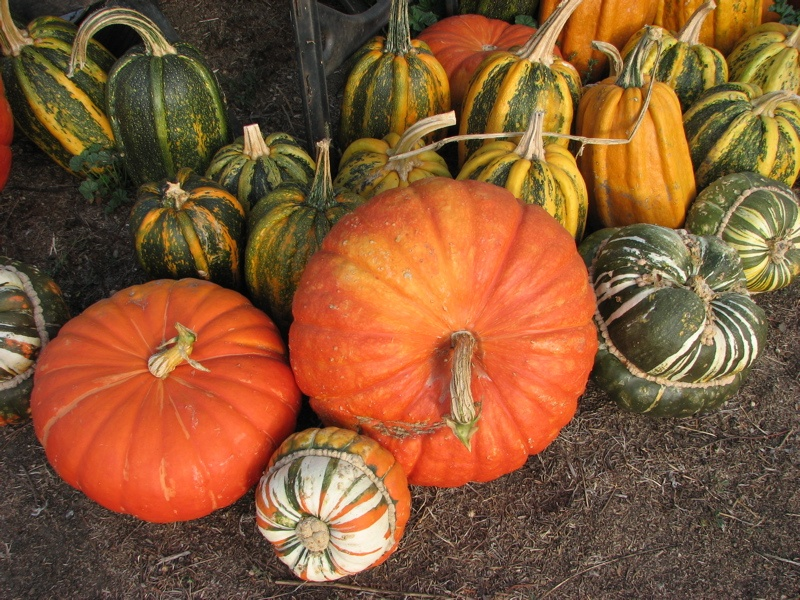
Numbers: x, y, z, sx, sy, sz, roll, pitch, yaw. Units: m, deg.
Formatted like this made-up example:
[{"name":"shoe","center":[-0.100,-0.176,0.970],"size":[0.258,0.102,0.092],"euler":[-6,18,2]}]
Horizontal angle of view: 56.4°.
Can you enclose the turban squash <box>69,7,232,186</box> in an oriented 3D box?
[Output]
[{"name":"turban squash","center":[-1.548,-1.322,4.825],"size":[0.710,1.057,0.697],"euler":[20,55,12]}]

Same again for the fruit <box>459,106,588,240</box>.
[{"name":"fruit","center":[0.742,-0.776,4.753],"size":[0.749,0.892,0.733],"euler":[4,32,-12]}]

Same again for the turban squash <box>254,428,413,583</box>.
[{"name":"turban squash","center":[-0.336,1.054,4.104],"size":[0.742,0.556,0.749],"euler":[-42,86,1]}]

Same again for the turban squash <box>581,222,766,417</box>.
[{"name":"turban squash","center":[1.622,0.111,4.485],"size":[1.086,0.694,0.964],"euler":[13,54,6]}]
